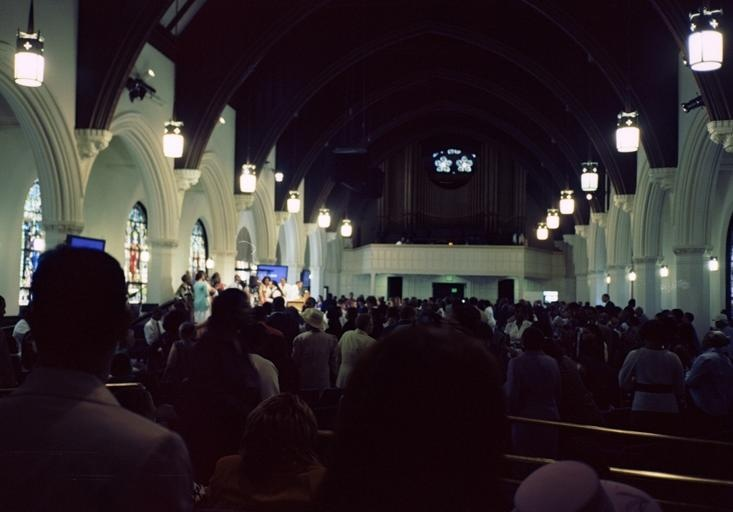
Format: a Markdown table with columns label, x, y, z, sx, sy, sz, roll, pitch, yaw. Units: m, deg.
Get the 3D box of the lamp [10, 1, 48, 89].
| label | x | y | z | sx | sy | sz | roll | pitch | yaw |
| --- | --- | --- | --- | --- | --- | --- | --- | --- | --- |
| lamp | -4.560 | -2.981 | 9.999 | 0.350 | 1.468 | 1.171 | 5 | -7 | -27 |
